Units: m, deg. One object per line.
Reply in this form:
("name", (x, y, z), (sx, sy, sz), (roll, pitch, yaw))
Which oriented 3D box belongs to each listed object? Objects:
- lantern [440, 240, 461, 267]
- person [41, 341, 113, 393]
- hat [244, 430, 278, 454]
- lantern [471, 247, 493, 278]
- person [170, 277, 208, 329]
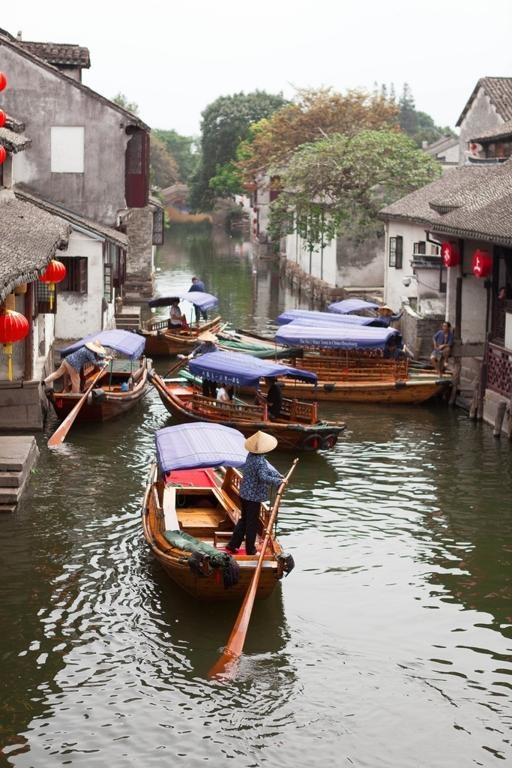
("lantern", (4.567, -3.039, 19.549), (0.371, 0.579, 0.513), (2, 10, 4))
("person", (-3.721, -0.289, 17.259), (1.500, 1.046, 0.529), (-3, 7, -19))
("hat", (0.051, 0.660, 9.342), (0.353, 0.223, 0.159), (6, 11, 24))
("lantern", (4.853, -2.591, 17.877), (0.357, 0.549, 0.591), (4, 11, 13))
("person", (-1.975, -2.731, 28.274), (1.280, 0.651, 2.214), (-4, 39, 8))
